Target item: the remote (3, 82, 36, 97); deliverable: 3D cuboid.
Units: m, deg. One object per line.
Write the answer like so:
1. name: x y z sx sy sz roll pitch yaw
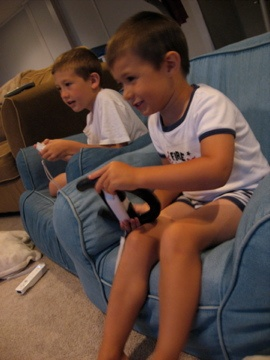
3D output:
1. remote: -0.872 -0.642 2.128 0.205 0.047 0.206 -22 12 23
